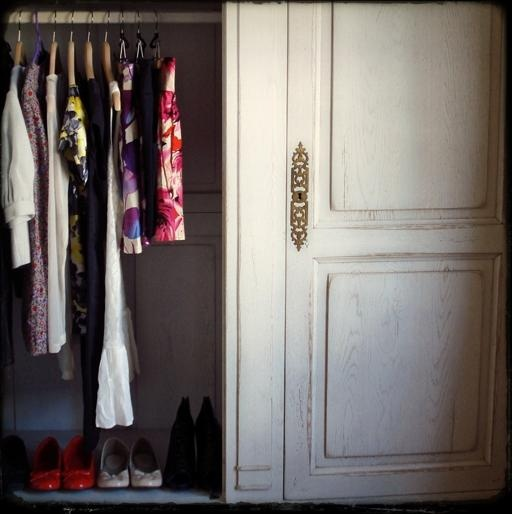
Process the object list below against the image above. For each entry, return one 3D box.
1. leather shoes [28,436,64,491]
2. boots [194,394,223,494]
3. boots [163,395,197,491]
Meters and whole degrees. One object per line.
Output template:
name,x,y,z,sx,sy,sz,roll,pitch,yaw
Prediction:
leather shoes,-0.703,0.674,2.026,0.066,0.087,0.200,2,15,-15
boots,-0.163,0.623,2.062,0.066,0.112,0.268,2,35,-7
boots,-0.262,0.640,2.081,0.072,0.118,0.267,7,38,-9
